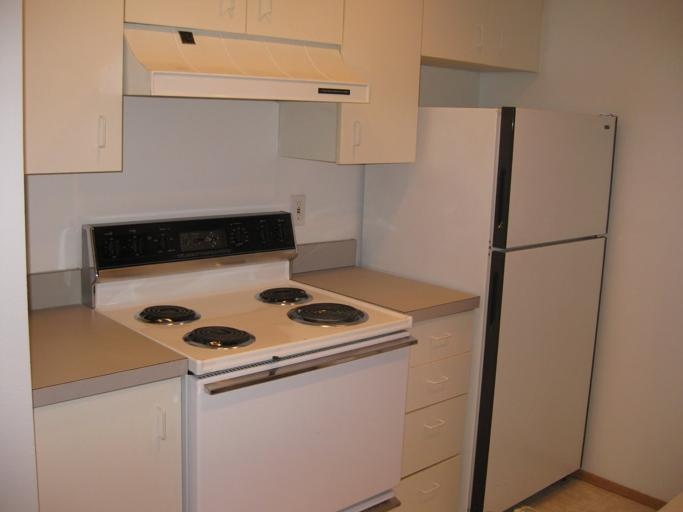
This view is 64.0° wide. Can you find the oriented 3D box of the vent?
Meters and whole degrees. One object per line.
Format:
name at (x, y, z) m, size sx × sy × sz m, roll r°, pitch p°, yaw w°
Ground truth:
vent at (-0.284, -0.640, 1.866) m, size 0.837 × 0.224 × 0.237 m, roll -7°, pitch 17°, yaw -36°
